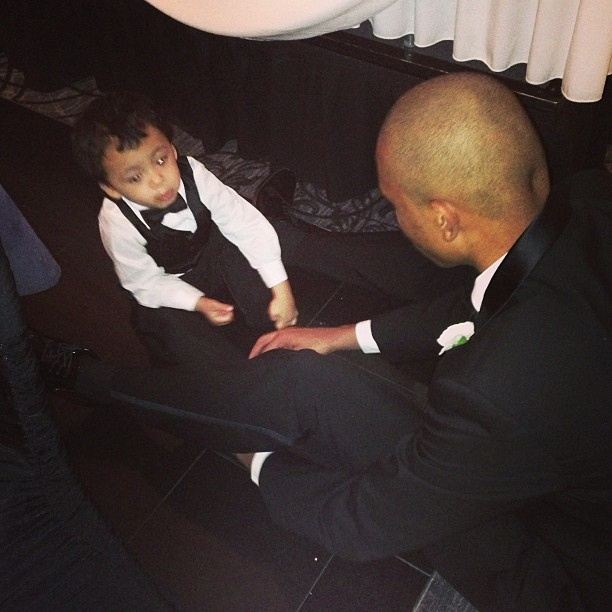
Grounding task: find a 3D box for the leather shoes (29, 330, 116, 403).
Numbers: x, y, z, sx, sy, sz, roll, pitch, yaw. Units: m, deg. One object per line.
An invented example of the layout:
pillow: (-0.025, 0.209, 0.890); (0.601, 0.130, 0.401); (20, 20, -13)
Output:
leather shoes: (-0.444, 0.120, 1.138); (0.207, 0.064, 0.068); (23, 34, -26)
